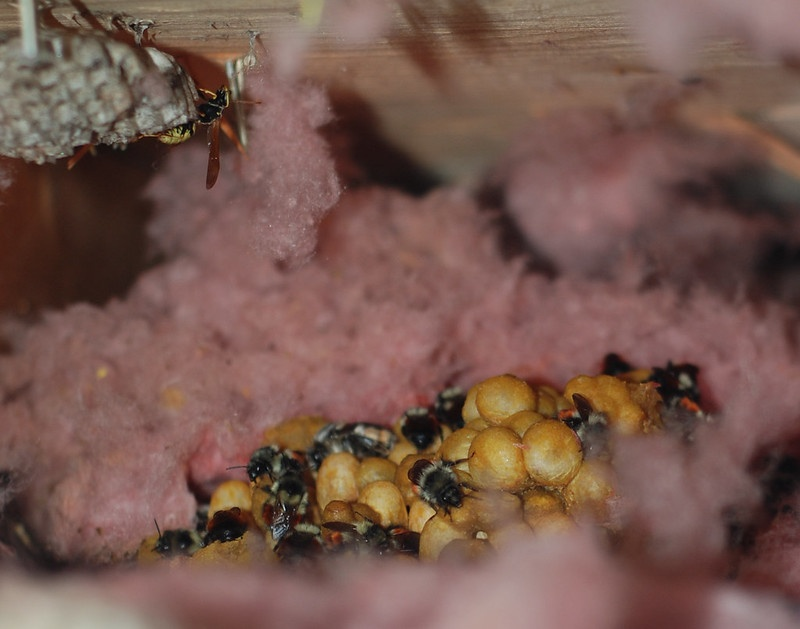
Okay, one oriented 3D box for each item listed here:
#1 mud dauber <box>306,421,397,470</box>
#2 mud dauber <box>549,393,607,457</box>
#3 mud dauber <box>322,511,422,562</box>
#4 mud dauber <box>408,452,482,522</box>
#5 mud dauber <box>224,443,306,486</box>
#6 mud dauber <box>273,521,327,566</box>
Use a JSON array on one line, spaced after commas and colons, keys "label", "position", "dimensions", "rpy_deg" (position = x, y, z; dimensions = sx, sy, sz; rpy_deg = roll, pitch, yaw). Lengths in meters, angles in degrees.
[{"label": "mud dauber", "position": [-0.101, 0.278, 1.952], "dimensions": [0.161, 0.107, 0.054], "rpy_deg": [-3, 92, 2]}, {"label": "mud dauber", "position": [0.357, 0.209, 1.768], "dimensions": [0.045, 0.130, 0.109], "rpy_deg": [-53, 48, 2]}, {"label": "mud dauber", "position": [-0.053, 0.417, 1.713], "dimensions": [0.183, 0.090, 0.083], "rpy_deg": [1, 67, 3]}, {"label": "mud dauber", "position": [0.084, 0.325, 1.725], "dimensions": [0.121, 0.056, 0.115], "rpy_deg": [-9, 65, -2]}, {"label": "mud dauber", "position": [-0.276, 0.315, 1.903], "dimensions": [0.117, 0.032, 0.081], "rpy_deg": [-3, 20, -9]}, {"label": "mud dauber", "position": [-0.192, 0.435, 1.723], "dimensions": [0.065, 0.028, 0.069], "rpy_deg": [3, 25, -3]}]
